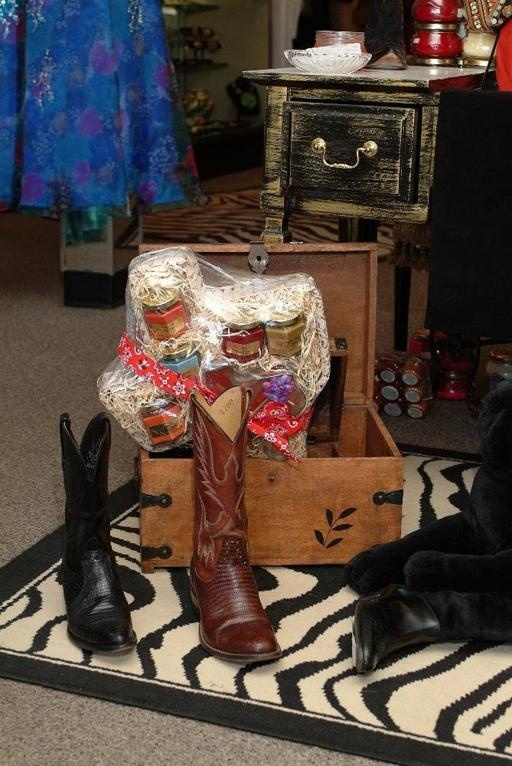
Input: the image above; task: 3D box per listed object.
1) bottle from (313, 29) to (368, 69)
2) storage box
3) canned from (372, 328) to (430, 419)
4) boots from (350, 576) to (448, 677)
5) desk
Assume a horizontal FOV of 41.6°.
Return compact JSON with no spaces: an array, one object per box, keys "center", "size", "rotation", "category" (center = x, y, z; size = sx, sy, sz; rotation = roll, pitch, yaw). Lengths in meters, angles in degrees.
[{"center":[0.147,-0.619,1.242],"size":[0.098,0.058,0.095],"rotation":[1,29,-1],"category":"bottle"},{"center":[0.002,0.097,1.129],"size":[0.446,0.385,0.366],"rotation":[1,-5,1],"category":"storage box"},{"center":[0.364,-0.023,1.687],"size":[0.117,0.076,0.196],"rotation":[0,44,13],"category":"canned"},{"center":[0.157,0.287,0.822],"size":[0.147,0.081,0.052],"rotation":[-1,-32,-49],"category":"boots"},{"center":[0.214,-0.425,1.299],"size":[0.351,0.307,0.292],"rotation":[12,29,23],"category":"desk"}]
